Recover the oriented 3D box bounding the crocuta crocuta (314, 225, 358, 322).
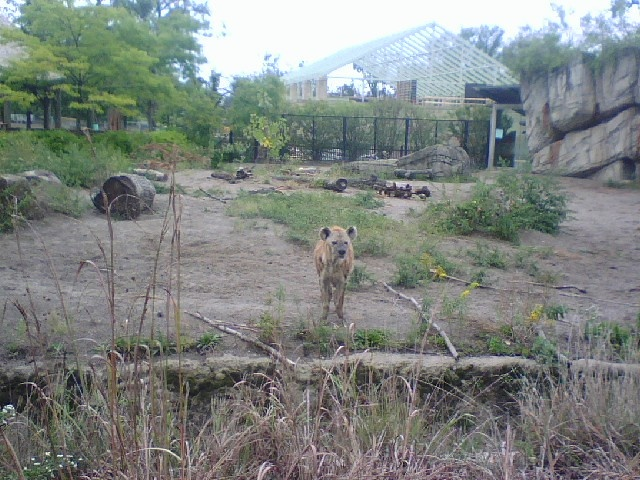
[{"bbox_3d":[0.251,0.549,13.809,0.680,1.570,1.089,2,7,-1],"label":"crocuta crocuta"}]

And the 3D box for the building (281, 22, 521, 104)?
[{"bbox_3d":[5.396,-10.597,48.956,11.945,3.413,13.635,-2,8,-20],"label":"building"}]
